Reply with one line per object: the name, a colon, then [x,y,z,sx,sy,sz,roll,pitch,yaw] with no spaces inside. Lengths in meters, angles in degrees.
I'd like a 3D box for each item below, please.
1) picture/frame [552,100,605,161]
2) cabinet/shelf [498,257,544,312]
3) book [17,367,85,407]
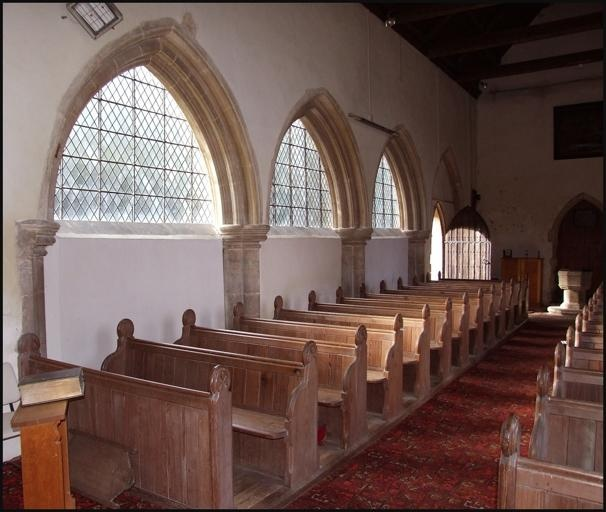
picture/frame: [8.984,-4.117,14.069,1.376,1.827,0.296,3,5,32]
cabinet/shelf: [6.548,0.844,12.678,1.294,2.129,0.605,-3,-5,35]
book: [-1.626,0.855,2.785,0.362,0.077,0.539,-1,4,-34]
